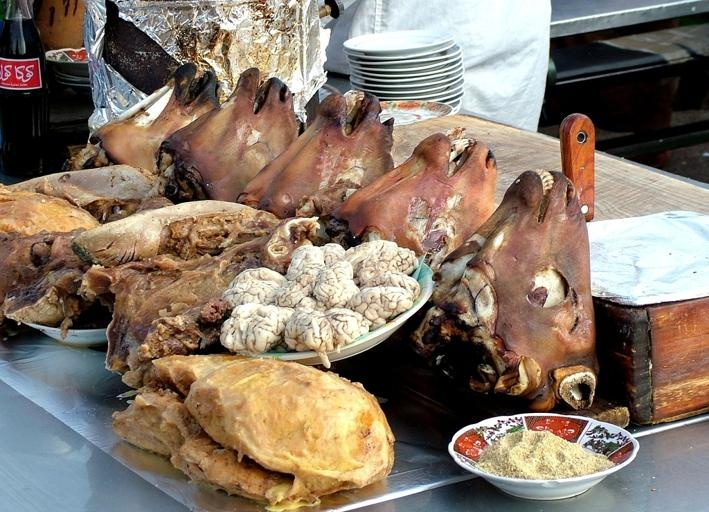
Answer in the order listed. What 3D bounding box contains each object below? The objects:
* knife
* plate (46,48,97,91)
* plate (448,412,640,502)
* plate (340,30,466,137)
[{"bbox_3d":[0.383,-0.149,1.238,0.069,0.185,0.043,-3,26,-9],"label":"knife"},{"bbox_3d":[-0.968,-0.621,2.435,0.179,0.122,0.144,2,25,0],"label":"plate"},{"bbox_3d":[0.233,0.245,0.904,0.220,0.065,0.141,8,25,13],"label":"plate"},{"bbox_3d":[0.180,-0.570,2.245,0.375,0.222,0.365,-13,28,-29],"label":"plate"}]
